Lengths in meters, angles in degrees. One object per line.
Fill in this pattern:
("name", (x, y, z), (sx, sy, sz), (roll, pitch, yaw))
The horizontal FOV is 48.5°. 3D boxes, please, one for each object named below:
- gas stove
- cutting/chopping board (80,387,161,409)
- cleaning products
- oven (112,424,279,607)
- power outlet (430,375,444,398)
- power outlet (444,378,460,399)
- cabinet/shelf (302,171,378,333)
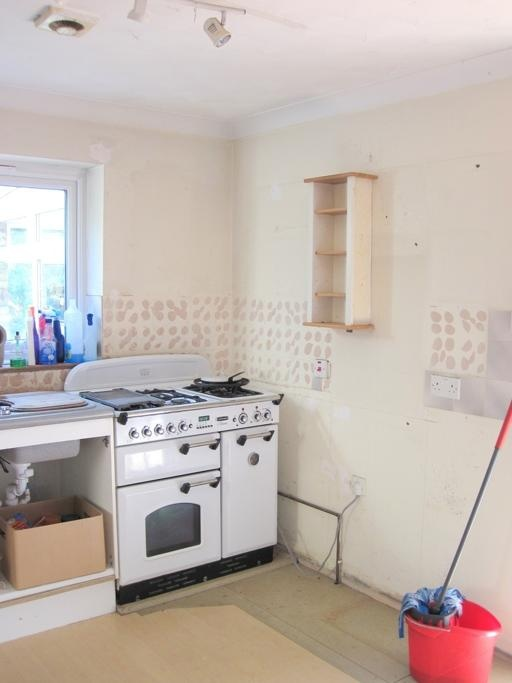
("gas stove", (-0.321, 0.329, 2.810), (0.975, 0.249, 0.397), (1, 1, -41))
("cutting/chopping board", (-0.599, 0.261, 2.677), (0.343, 0.046, 0.337), (-2, 10, -38))
("cleaning products", (-1.026, -0.024, 2.978), (0.275, 0.355, 0.140), (-2, 14, -34))
("oven", (-0.343, 0.803, 2.867), (0.902, 0.732, 0.468), (-2, 2, -38))
("power outlet", (0.740, 0.183, 2.311), (0.011, 0.086, 0.084), (-3, 12, -24))
("power outlet", (0.779, 0.186, 2.245), (0.010, 0.089, 0.078), (-6, 11, -31))
("cabinet/shelf", (0.389, -0.412, 2.641), (0.192, 0.679, 0.340), (-4, 6, -33))
